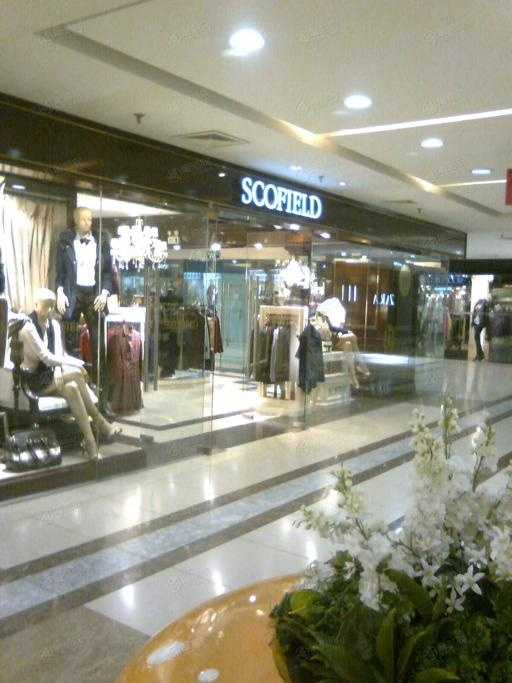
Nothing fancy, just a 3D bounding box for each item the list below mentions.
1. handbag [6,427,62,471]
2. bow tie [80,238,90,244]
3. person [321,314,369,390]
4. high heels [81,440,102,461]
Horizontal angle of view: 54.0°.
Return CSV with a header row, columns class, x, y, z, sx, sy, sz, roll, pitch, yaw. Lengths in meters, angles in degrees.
class,x,y,z,sx,sy,sz,roll,pitch,yaw
handbag,-1.092,0.526,2.475,0.174,0.214,0.192,0,-8,-30
bow tie,-0.882,-0.521,2.610,0.047,0.034,0.012,-4,7,-26
person,0.824,0.029,4.492,0.281,0.615,0.883,3,8,23
high heels,-0.853,0.562,2.615,0.048,0.100,0.139,-7,8,-43
